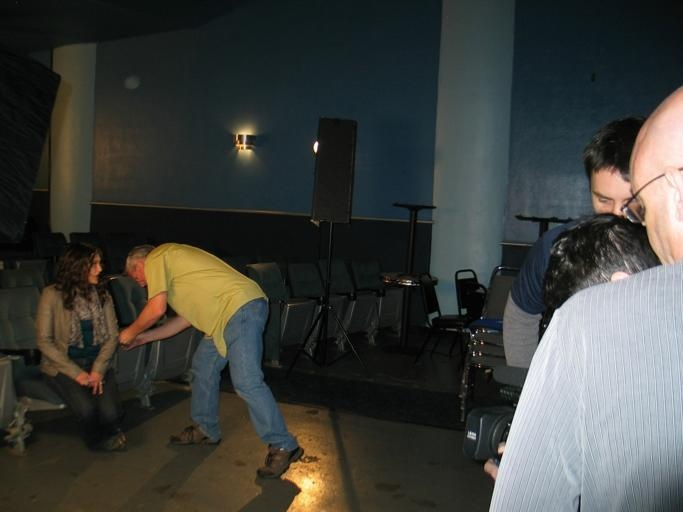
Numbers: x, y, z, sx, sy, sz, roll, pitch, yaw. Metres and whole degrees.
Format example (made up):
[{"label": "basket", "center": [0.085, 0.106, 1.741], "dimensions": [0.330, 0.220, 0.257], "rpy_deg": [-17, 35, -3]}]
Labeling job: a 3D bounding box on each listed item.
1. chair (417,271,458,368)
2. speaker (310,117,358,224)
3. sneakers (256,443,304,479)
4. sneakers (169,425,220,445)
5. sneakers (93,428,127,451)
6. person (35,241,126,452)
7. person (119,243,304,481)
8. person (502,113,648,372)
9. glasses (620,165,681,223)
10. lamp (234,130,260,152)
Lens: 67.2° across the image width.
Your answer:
[{"label": "chair", "center": [1.116, 0.679, 5.480], "dimensions": [0.520, 0.805, 0.489], "rpy_deg": [1, 1, 42]}, {"label": "speaker", "center": [-0.025, -0.971, 5.031], "dimensions": [0.398, 0.824, 0.445], "rpy_deg": [14, 24, 23]}, {"label": "sneakers", "center": [-0.352, 1.102, 2.862], "dimensions": [0.259, 0.141, 0.112], "rpy_deg": [-35, 7, -16]}, {"label": "sneakers", "center": [-0.893, 1.085, 3.135], "dimensions": [0.281, 0.106, 0.119], "rpy_deg": [5, -8, -5]}, {"label": "sneakers", "center": [-1.373, 1.094, 3.050], "dimensions": [0.164, 0.077, 0.081], "rpy_deg": [1, 4, 6]}, {"label": "person", "center": [-1.578, 0.474, 3.094], "dimensions": [0.439, 1.084, 0.333], "rpy_deg": [1, 6, -30]}, {"label": "person", "center": [-0.774, 0.549, 2.978], "dimensions": [1.237, 1.232, 0.583], "rpy_deg": [-1, -2, 22]}, {"label": "person", "center": [0.748, 0.039, 1.603], "dimensions": [0.445, 0.807, 0.232], "rpy_deg": [0, 16, 3]}, {"label": "glasses", "center": [0.459, -0.086, 0.773], "dimensions": [0.058, 0.060, 0.017], "rpy_deg": [-35, 18, -7]}, {"label": "lamp", "center": [-1.253, -1.478, 6.755], "dimensions": [0.264, 0.187, 0.262], "rpy_deg": [-1, 2, -37]}]
